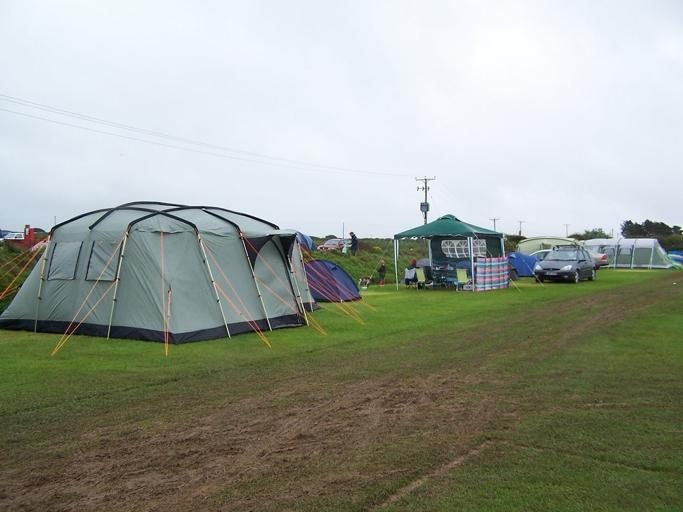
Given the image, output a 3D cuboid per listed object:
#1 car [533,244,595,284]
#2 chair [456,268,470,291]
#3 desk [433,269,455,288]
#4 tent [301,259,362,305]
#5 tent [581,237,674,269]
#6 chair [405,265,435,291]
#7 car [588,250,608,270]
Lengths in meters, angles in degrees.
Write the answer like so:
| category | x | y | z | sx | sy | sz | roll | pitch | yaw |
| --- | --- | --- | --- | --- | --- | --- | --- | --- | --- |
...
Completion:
| category | x | y | z | sx | sy | sz | roll | pitch | yaw |
| --- | --- | --- | --- | --- | --- | --- | --- | --- | --- |
| car | 12.712 | 0.540 | 27.234 | 3.649 | 2.029 | 1.921 | -3 | 4 | -34 |
| chair | 6.360 | 1.247 | 24.760 | 0.706 | 1.056 | 0.688 | 0 | 3 | 11 |
| desk | 5.605 | 1.214 | 26.641 | 1.566 | 1.184 | 1.037 | -1 | -2 | 2 |
| tent | -0.372 | 1.025 | 18.866 | 2.055 | 0.821 | 1.995 | 1 | 4 | 28 |
| tent | 24.538 | -0.094 | 41.051 | 5.326 | 1.652 | 3.831 | -1 | 0 | 29 |
| chair | 4.308 | 1.173 | 26.326 | 1.534 | 1.260 | 1.642 | 0 | 3 | 9 |
| car | 18.874 | 0.373 | 35.163 | 1.590 | 1.053 | 3.495 | -1 | 5 | 14 |
